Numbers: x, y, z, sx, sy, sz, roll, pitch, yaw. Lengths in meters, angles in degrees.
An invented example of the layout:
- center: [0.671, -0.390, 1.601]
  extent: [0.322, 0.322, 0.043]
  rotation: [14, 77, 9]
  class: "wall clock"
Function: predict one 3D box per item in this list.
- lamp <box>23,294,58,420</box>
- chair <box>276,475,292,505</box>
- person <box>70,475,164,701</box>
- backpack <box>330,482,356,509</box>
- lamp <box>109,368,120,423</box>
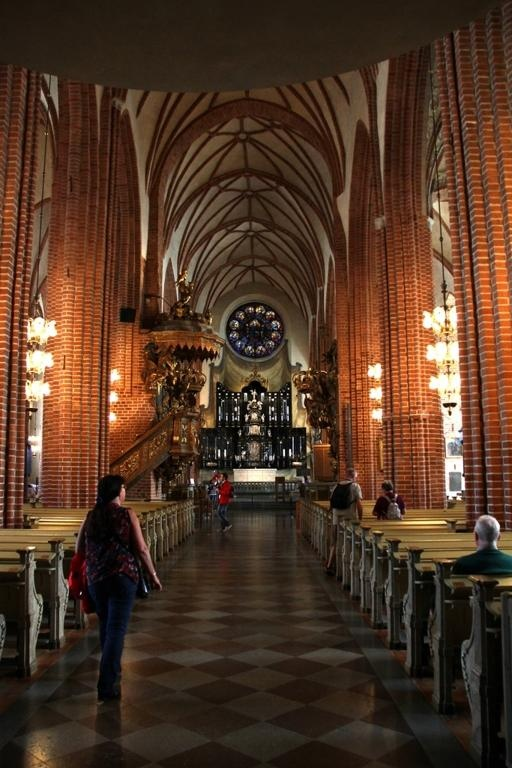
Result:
- center: [-3.525, -0.452, 9.742]
  extent: [0.510, 1.600, 0.543]
  rotation: [3, 1, 37]
  class: "lamp"
- center: [1.282, 4.982, 28.320]
  extent: [0.792, 1.764, 0.918]
  rotation: [0, -18, -1]
  class: "chair"
- center: [-0.797, 1.155, 3.517]
  extent: [0.488, 1.243, 0.354]
  rotation: [2, -8, -17]
  class: "person"
- center: [1.088, 1.425, 7.670]
  extent: [0.239, 0.396, 0.362]
  rotation: [0, -12, 26]
  class: "backpack"
- center: [-3.713, 0.316, 16.048]
  extent: [0.222, 1.439, 0.555]
  rotation: [1, -8, -7]
  class: "lamp"
